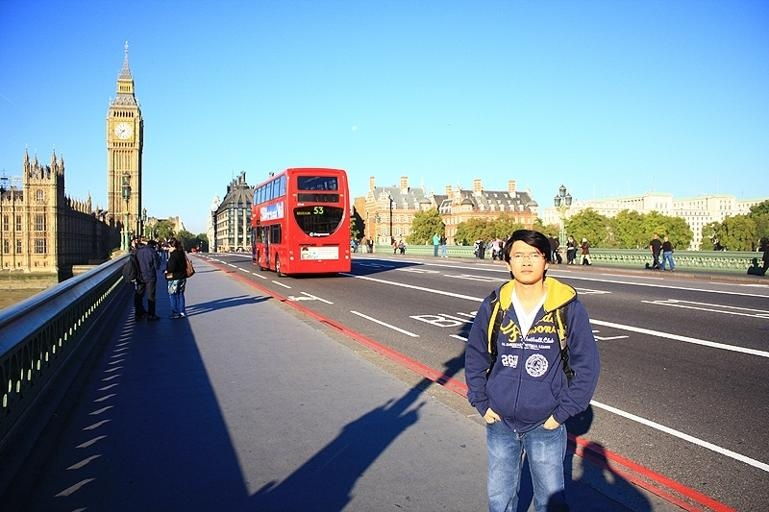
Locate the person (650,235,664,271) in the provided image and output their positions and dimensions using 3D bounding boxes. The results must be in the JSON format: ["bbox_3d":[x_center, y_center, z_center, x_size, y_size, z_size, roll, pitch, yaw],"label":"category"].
[{"bbox_3d":[13.724,-0.103,25.719,0.435,1.612,1.591,-1,3,29],"label":"person"}]
